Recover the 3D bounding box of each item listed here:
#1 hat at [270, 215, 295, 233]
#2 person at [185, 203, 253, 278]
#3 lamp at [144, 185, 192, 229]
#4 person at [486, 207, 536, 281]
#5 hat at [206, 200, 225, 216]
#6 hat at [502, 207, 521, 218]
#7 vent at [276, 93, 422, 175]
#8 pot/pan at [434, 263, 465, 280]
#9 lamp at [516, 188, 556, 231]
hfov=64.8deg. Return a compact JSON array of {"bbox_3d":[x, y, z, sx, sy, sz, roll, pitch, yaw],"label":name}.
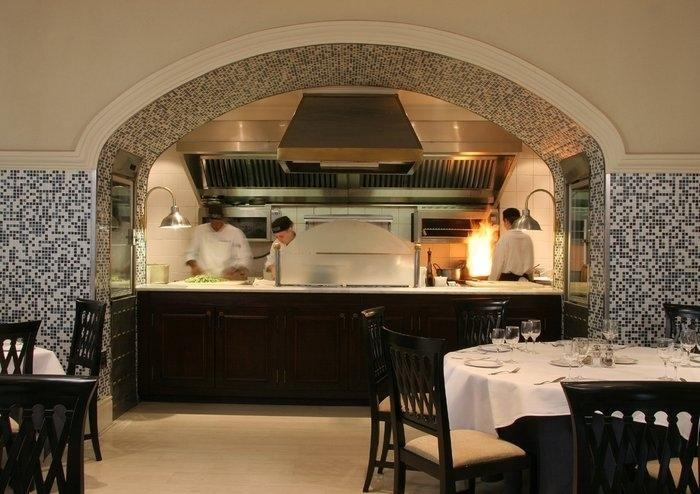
[{"bbox_3d":[-0.829,-0.261,6.632,0.199,0.196,0.278,2,6,20],"label":"hat"},{"bbox_3d":[-1.773,0.122,7.258,0.779,1.383,0.675,3,7,-4],"label":"person"},{"bbox_3d":[-2.144,-0.458,6.452,0.585,0.479,0.359,-2,3,6],"label":"lamp"},{"bbox_3d":[2.042,-0.022,7.032,0.480,0.919,0.870,3,6,30],"label":"person"},{"bbox_3d":[-1.859,-0.532,7.613,0.273,0.258,0.472,4,-2,-10],"label":"hat"},{"bbox_3d":[2.132,-0.433,7.309,0.171,0.210,0.215,1,10,-3],"label":"hat"},{"bbox_3d":[0.030,-1.234,6.449,1.576,0.793,1.236,1,-5,-1],"label":"vent"},{"bbox_3d":[1.458,0.381,8.148,0.455,0.307,0.266,-1,-4,2],"label":"pot/pan"},{"bbox_3d":[2.105,-0.422,6.283,0.508,0.465,0.301,-1,2,4],"label":"lamp"}]
